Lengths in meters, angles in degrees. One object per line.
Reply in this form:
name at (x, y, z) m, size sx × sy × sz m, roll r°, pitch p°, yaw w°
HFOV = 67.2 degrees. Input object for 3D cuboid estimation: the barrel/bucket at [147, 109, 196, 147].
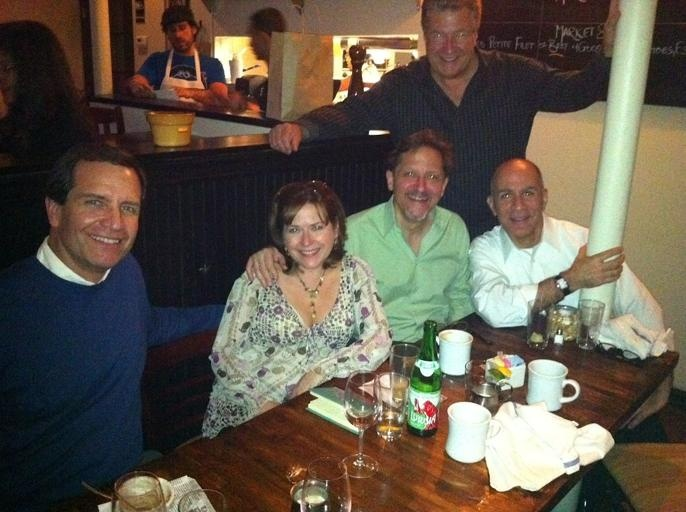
barrel/bucket at (-0.897, -0.653, 2.662) m, size 0.204 × 0.131 × 0.195 m, roll 2°, pitch 11°, yaw 0°

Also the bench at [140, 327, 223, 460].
bench at (-0.702, 0.575, 2.207) m, size 0.329 × 0.528 × 0.308 m, roll 36°, pitch 44°, yaw 21°

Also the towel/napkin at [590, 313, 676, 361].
towel/napkin at (1.274, 0.333, 2.228) m, size 0.227 × 0.086 × 0.223 m, roll -15°, pitch 28°, yaw -31°

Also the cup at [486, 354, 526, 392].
cup at (0.600, 0.421, 1.958) m, size 0.154 × 0.114 × 0.102 m, roll -11°, pitch 19°, yaw -34°

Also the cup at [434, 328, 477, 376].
cup at (0.433, 0.379, 2.078) m, size 0.130 × 0.145 × 0.165 m, roll -3°, pitch 16°, yaw -7°

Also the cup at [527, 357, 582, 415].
cup at (0.717, 0.459, 1.871) m, size 0.140 × 0.149 × 0.214 m, roll -13°, pitch 21°, yaw -26°

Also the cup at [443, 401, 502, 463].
cup at (0.377, 0.537, 1.628) m, size 0.176 × 0.153 × 0.139 m, roll -3°, pitch 16°, yaw -10°

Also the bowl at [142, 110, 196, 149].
bowl at (-0.867, -0.629, 2.629) m, size 0.198 × 0.136 × 0.208 m, roll 3°, pitch 11°, yaw -1°

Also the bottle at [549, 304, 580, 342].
bottle at (0.988, 0.288, 2.327) m, size 0.144 × 0.158 × 0.137 m, roll 4°, pitch 10°, yaw 29°

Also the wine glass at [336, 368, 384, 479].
wine glass at (0.057, 0.542, 1.630) m, size 0.174 × 0.362 × 0.180 m, roll -6°, pitch 17°, yaw -20°

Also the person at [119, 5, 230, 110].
person at (-1.858, -2.268, 5.998) m, size 0.903 × 0.995 × 3.473 m, roll -4°, pitch 16°, yaw -12°
